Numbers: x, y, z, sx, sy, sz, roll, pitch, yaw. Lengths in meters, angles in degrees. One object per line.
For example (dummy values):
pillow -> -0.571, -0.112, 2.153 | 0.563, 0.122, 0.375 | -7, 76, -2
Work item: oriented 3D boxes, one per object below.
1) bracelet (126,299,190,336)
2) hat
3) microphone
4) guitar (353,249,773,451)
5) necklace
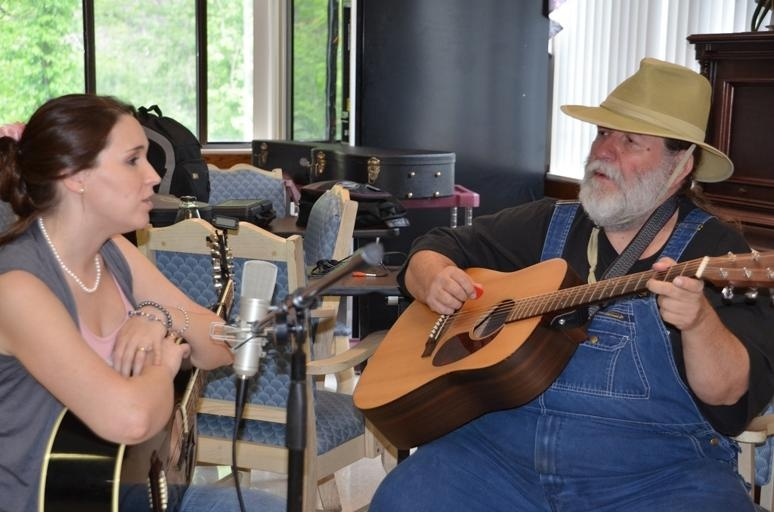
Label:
bracelet -> -0.706, 0.184, 2.164 | 0.142, 0.035, 0.112 | 10, 27, -18
hat -> 0.929, -0.416, 2.471 | 0.475, 0.245, 0.483 | 15, 12, 24
microphone -> -0.331, 0.157, 1.734 | 0.105, 0.306, 0.131 | -1, 12, -12
guitar -> 0.478, 0.418, 2.316 | 1.333, 0.188, 0.601 | -21, 24, 47
necklace -> -0.955, 0.001, 2.078 | 0.043, 0.208, 0.149 | -14, 29, 36
